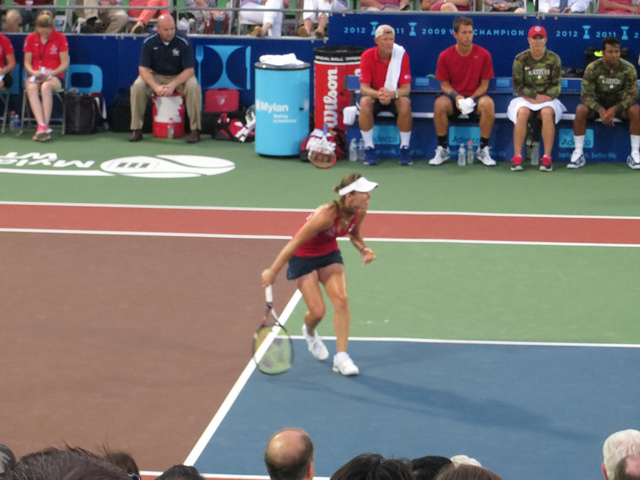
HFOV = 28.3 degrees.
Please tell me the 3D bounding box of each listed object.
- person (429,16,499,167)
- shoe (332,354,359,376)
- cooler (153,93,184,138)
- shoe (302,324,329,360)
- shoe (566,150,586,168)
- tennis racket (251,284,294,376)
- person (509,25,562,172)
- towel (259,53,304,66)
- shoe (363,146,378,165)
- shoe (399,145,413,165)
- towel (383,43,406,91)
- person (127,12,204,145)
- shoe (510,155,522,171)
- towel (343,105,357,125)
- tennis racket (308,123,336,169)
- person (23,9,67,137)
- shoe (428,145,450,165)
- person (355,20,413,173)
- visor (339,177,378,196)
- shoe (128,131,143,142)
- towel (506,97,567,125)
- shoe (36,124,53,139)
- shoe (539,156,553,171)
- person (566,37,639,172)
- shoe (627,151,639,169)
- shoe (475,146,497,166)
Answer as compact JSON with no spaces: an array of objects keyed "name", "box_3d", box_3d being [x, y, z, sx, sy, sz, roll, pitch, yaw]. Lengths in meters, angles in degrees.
[{"name":"person","box_3d":[2.322,-2.388,20.599,1.048,2.398,0.931,2,11,4]},{"name":"shoe","box_3d":[0.269,1.350,13.790,0.147,0.151,0.333,-4,3,-36]},{"name":"cooler","box_3d":[-2.636,-2.175,22.172,0.528,0.786,0.508,-1,11,-7]},{"name":"shoe","box_3d":[-0.045,1.168,14.080,0.188,0.478,0.210,-30,-5,-5]},{"name":"shoe","box_3d":[4.157,-1.351,20.711,0.238,0.284,0.550,5,12,18]},{"name":"tennis racket","box_3d":[-0.502,0.972,13.644,0.376,1.031,0.615,4,12,18]},{"name":"person","box_3d":[3.438,-2.259,20.367,0.766,2.267,0.703,2,11,8]},{"name":"towel","box_3d":[-0.632,-2.939,20.721,0.704,0.172,0.414,3,11,10]},{"name":"shoe","box_3d":[0.819,-1.394,20.767,0.223,0.321,0.285,1,11,3]},{"name":"shoe","box_3d":[1.401,-1.408,20.842,0.211,0.328,0.245,2,11,3]},{"name":"towel","box_3d":[1.178,-2.766,20.419,0.303,0.721,0.163,-1,11,-8]},{"name":"person","box_3d":[-2.683,-2.818,22.126,1.317,2.185,0.982,0,11,-6]},{"name":"shoe","box_3d":[3.131,-1.243,20.350,0.169,0.258,0.201,2,11,5]},{"name":"towel","box_3d":[0.469,-2.035,20.671,0.293,0.318,0.176,2,30,12]},{"name":"tennis racket","box_3d":[0.035,-1.426,20.498,0.376,0.527,0.142,4,3,23]},{"name":"person","box_3d":[-4.793,-2.882,22.214,0.711,2.151,1.549,-2,11,-12]},{"name":"shoe","box_3d":[1.959,-1.423,20.932,0.199,0.317,0.563,10,14,38]},{"name":"person","box_3d":[1.085,-2.347,20.773,1.163,2.288,1.085,-4,12,-24]},{"name":"visor","box_3d":[0.382,-0.574,13.537,0.294,0.091,0.187,-10,3,17]},{"name":"shoe","box_3d":[-3.210,-1.820,22.126,0.248,0.187,0.299,-1,11,-8]},{"name":"towel","box_3d":[3.466,-2.089,20.477,0.923,0.424,0.642,2,11,6]},{"name":"shoe","box_3d":[-4.740,-1.860,21.799,0.223,0.245,0.337,-2,11,-12]},{"name":"shoe","box_3d":[3.606,-1.228,20.360,0.216,0.247,0.180,0,11,-4]},{"name":"person","box_3d":[4.577,-2.185,20.401,1.128,2.114,0.752,3,11,11]},{"name":"shoe","box_3d":[5.021,-1.308,20.508,0.088,0.287,0.331,-2,11,-13]},{"name":"shoe","box_3d":[2.698,-1.404,20.868,0.289,0.311,0.486,1,11,0]}]
